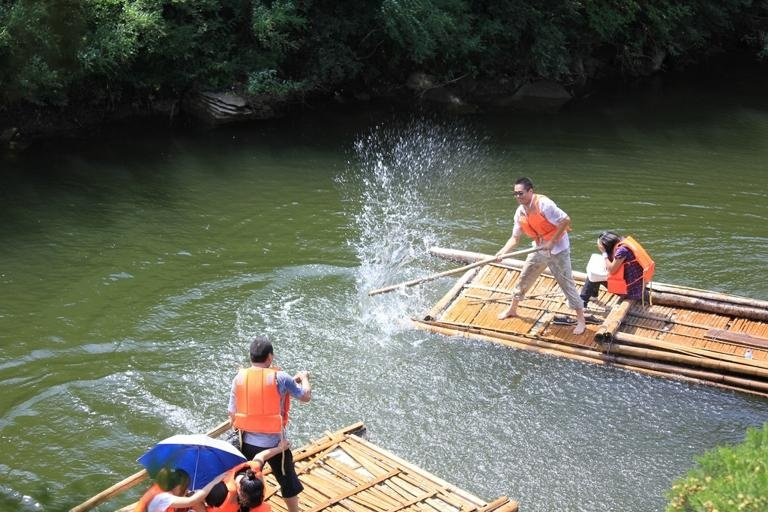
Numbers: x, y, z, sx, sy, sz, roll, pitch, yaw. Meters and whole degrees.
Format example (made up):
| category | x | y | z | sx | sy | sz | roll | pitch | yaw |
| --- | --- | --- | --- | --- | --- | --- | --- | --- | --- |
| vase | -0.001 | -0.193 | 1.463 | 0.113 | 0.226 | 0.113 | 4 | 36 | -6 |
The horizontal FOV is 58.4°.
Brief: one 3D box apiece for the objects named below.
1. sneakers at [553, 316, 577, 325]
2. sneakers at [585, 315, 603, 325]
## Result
| category | x | y | z | sx | sy | sz | roll | pitch | yaw |
| --- | --- | --- | --- | --- | --- | --- | --- | --- | --- |
| sneakers | 3.840 | 1.351 | 14.606 | 0.399 | 0.144 | 0.183 | -1 | 7 | 10 |
| sneakers | 4.447 | 1.341 | 14.563 | 0.342 | 0.142 | 0.156 | 0 | 23 | 9 |
